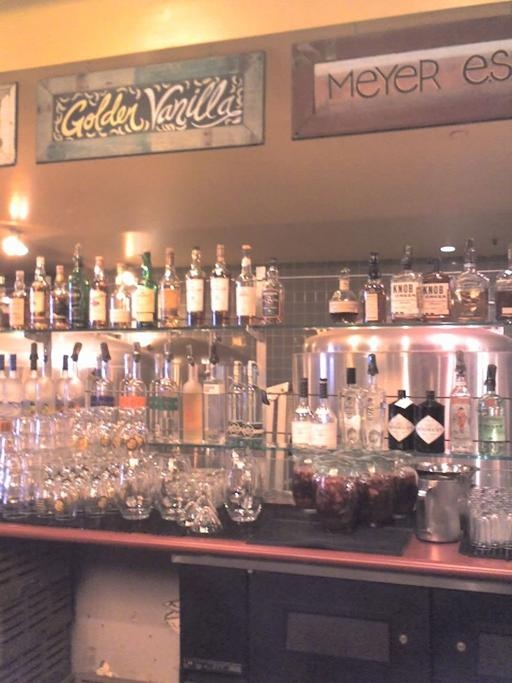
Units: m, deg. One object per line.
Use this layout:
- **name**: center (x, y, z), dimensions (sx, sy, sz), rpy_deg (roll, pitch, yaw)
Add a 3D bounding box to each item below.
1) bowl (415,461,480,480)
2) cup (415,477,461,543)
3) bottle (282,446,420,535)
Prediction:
- **bowl**: center (0.537, 0.361, 2.180), dimensions (0.196, 0.040, 0.110), rpy_deg (0, -2, -21)
- **cup**: center (0.479, 0.473, 2.176), dimensions (0.119, 0.172, 0.195), rpy_deg (-2, -5, 45)
- **bottle**: center (0.284, 0.410, 2.245), dimensions (0.244, 0.139, 0.296), rpy_deg (0, -4, 14)
